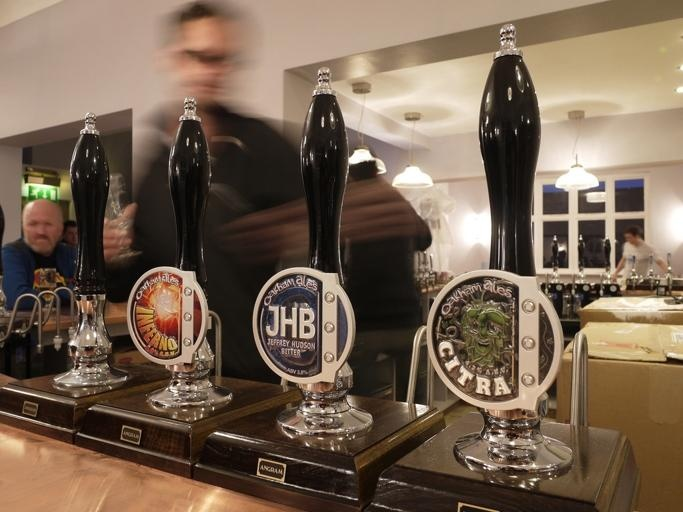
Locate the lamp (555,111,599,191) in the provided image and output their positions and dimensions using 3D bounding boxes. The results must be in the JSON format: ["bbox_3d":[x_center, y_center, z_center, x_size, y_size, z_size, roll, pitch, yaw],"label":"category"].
[{"bbox_3d":[1.885,-0.864,4.426,0.299,0.587,0.297,-6,6,-28],"label":"lamp"}]

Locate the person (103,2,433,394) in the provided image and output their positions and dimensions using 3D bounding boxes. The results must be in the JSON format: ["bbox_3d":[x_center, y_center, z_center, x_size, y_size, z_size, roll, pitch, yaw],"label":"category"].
[{"bbox_3d":[-0.426,-0.293,2.443,1.581,1.605,0.385,0,2,31],"label":"person"}]

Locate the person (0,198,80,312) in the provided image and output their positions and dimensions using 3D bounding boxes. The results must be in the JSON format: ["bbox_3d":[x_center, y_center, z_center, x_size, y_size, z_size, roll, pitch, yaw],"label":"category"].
[{"bbox_3d":[-1.792,-0.012,3.223,0.322,0.634,0.714,-1,2,-15],"label":"person"}]

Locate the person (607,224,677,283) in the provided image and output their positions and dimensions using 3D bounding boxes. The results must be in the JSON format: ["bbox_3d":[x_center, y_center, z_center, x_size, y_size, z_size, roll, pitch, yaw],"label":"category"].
[{"bbox_3d":[2.990,-0.032,5.501,0.441,0.546,1.151,0,2,29],"label":"person"}]

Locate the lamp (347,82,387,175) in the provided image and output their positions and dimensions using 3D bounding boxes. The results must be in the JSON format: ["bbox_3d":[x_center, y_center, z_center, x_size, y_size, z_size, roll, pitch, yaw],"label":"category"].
[{"bbox_3d":[0.151,-0.990,4.303,0.344,0.664,0.351,0,2,-27],"label":"lamp"}]
